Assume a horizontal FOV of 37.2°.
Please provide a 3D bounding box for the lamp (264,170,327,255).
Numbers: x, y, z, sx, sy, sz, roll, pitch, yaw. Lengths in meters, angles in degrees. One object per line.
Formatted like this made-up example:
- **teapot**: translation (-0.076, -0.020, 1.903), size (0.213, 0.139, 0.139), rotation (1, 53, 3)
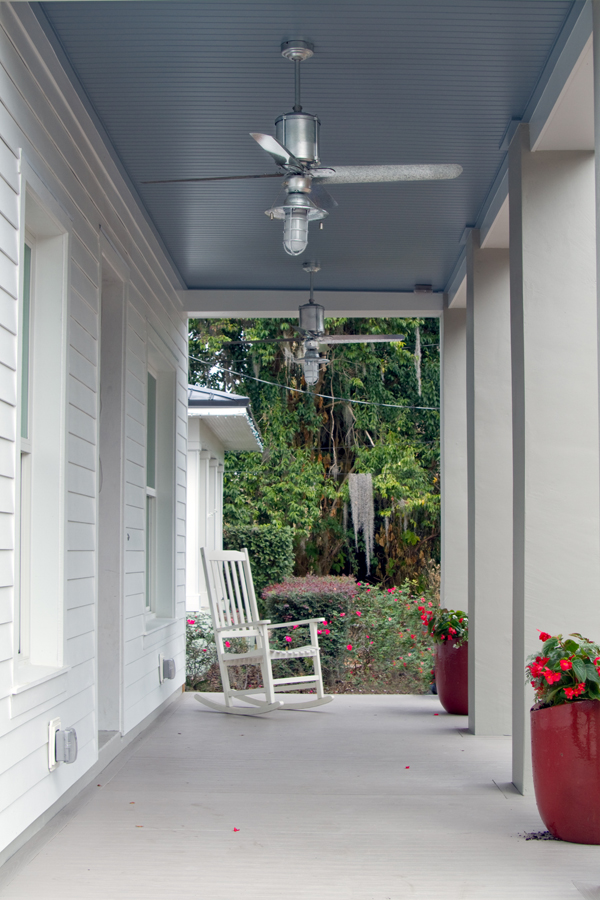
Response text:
- **lamp**: translation (-0.010, -0.769, 2.895), size (0.182, 0.257, 0.194), rotation (3, 6, 8)

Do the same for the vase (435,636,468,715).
- **vase**: translation (0.909, 1.367, 5.344), size (0.166, 0.452, 0.328), rotation (-1, -9, 4)

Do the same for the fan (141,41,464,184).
- **fan**: translation (0.060, -1.002, 2.855), size (0.671, 0.327, 0.697), rotation (2, 1, 35)
